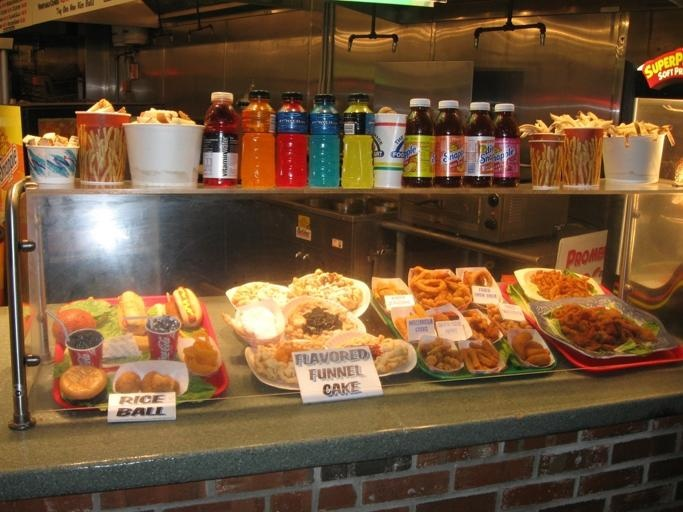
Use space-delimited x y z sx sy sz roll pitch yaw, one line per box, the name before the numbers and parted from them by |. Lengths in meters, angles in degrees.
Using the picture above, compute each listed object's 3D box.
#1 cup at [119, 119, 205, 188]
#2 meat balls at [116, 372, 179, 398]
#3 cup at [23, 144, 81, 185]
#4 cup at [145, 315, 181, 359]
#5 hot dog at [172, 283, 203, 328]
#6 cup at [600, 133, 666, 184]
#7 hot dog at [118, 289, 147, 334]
cup | -0.458 -0.261 1.415 0.209 0.129 0.170 2 5 9
meat balls | -0.523 0.341 1.438 0.122 0.041 0.063 4 36 -10
cup | -0.751 -0.234 1.424 0.117 0.074 0.116 1 0 0
cup | -0.490 0.224 1.482 0.094 0.088 0.093 5 23 -2
hot dog | -0.431 0.139 1.530 0.048 0.116 0.066 -10 15 40
cup | 1.022 -0.332 1.946 0.211 0.135 0.196 -1 4 0
hot dog | -0.559 0.149 1.460 0.069 0.107 0.043 -16 0 -34
